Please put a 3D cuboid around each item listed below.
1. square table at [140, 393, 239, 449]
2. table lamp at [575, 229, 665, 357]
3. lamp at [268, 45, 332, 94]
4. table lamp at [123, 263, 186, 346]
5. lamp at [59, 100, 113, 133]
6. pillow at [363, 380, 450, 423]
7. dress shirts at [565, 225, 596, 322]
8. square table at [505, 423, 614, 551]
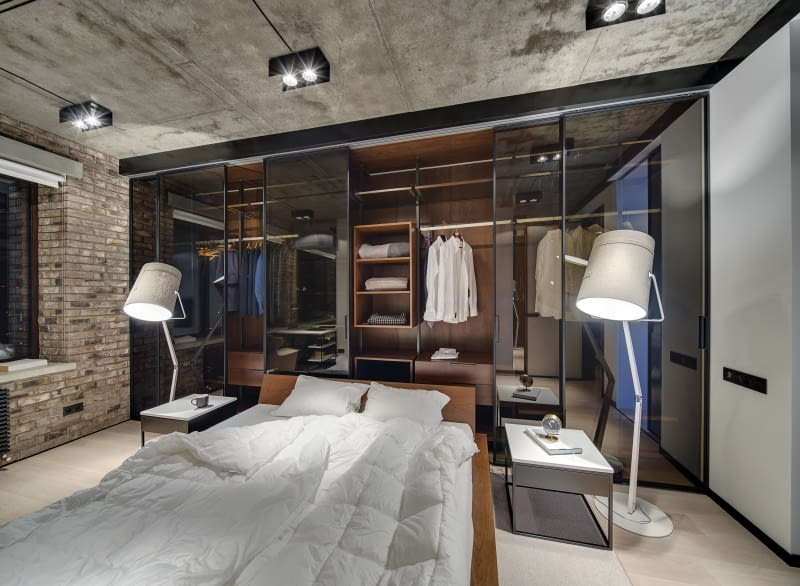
[{"bbox_3d":[-1.907,1.131,4.949,0.583,0.447,0.618,-1,-1,22],"label":"square table"},{"bbox_3d":[1.762,0.007,4.351,0.784,0.682,0.718,-3,-32,42],"label":"table lamp"},{"bbox_3d":[-0.784,-1.824,4.450,0.384,0.237,0.084,-7,39,1],"label":"lamp"},{"bbox_3d":[-2.279,0.097,5.092,0.439,0.777,0.863,-1,-1,-17],"label":"table lamp"},{"bbox_3d":[-2.858,-1.621,4.983,0.267,0.067,0.291,1,-3,-41],"label":"lamp"},{"bbox_3d":[0.010,0.906,4.624,0.537,0.128,0.328,2,42,17],"label":"pillow"},{"bbox_3d":[1.555,-0.145,4.782,0.334,0.848,0.098,3,-20,15],"label":"dress shirts"},{"bbox_3d":[1.233,1.523,4.325,0.764,0.555,1.108,0,0,10],"label":"square table"}]
